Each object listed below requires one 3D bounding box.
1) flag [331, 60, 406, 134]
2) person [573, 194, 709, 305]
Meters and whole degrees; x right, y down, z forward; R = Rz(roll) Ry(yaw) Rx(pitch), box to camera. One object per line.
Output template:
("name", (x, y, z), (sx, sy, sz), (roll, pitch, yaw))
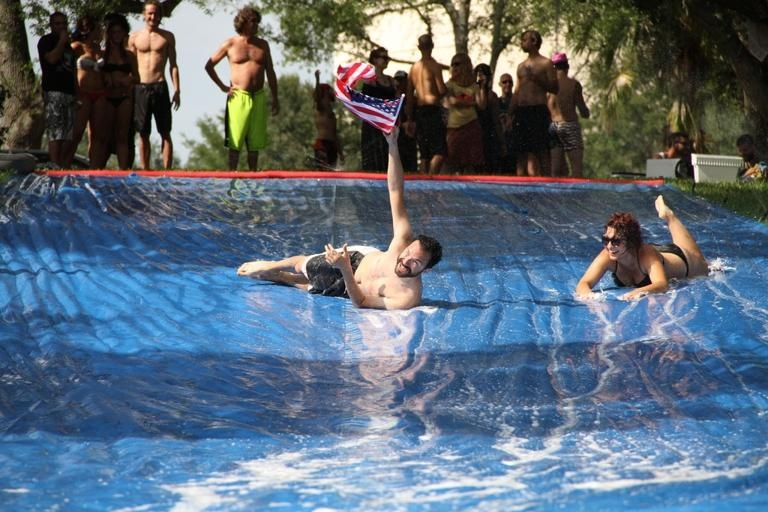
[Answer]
("flag", (-0.084, -1.638, 8.578), (0.854, 0.313, 0.600), (28, -31, -7))
("person", (2.515, -0.037, 8.646), (1.347, 0.912, 0.701), (-2, 1, -32))
